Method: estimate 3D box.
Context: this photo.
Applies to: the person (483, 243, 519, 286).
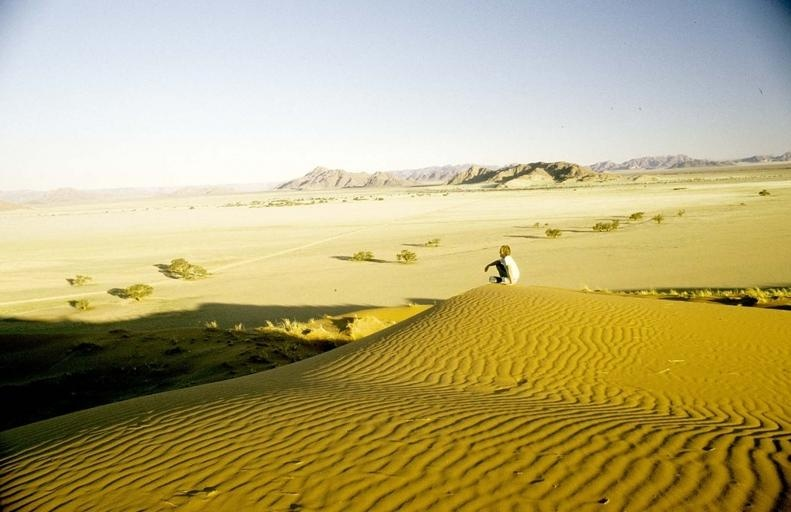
[{"bbox_3d":[2.898,0.184,12.042,0.659,1.161,1.485,-4,13,9],"label":"person"}]
